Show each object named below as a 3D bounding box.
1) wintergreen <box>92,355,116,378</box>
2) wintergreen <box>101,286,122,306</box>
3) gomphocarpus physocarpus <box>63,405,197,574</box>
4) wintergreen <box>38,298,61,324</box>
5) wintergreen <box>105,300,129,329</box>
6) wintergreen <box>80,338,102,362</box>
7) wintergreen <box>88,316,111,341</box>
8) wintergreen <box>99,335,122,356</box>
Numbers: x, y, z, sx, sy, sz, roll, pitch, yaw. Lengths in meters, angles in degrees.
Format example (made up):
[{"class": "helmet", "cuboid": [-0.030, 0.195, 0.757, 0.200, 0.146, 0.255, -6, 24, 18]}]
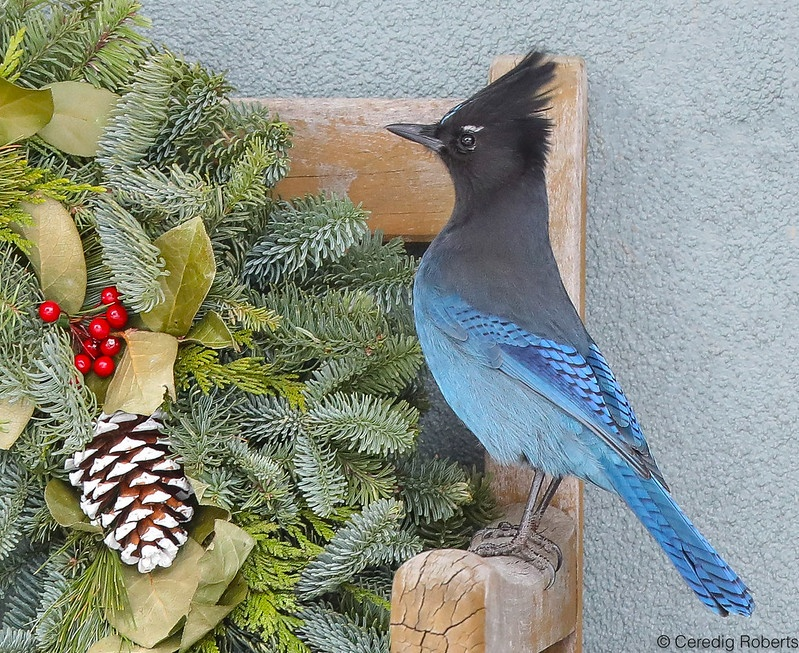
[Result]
[{"class": "wintergreen", "cuboid": [-0.381, 0.050, 1.448, 0.027, 0.027, 0.027, 1, 77, -8]}, {"class": "wintergreen", "cuboid": [-0.375, -0.040, 1.456, 0.022, 0.022, 0.026, -2, 54, -3]}, {"class": "gomphocarpus physocarpus", "cuboid": [-0.341, 0.211, 1.447, 0.134, 0.074, 0.201, -26, 77, -6]}, {"class": "wintergreen", "cuboid": [-0.450, -0.019, 1.441, 0.026, 0.017, 0.026, -6, 76, -1]}, {"class": "wintergreen", "cuboid": [-0.364, -0.015, 1.459, 0.032, 0.014, 0.031, -40, 114, -53]}, {"class": "wintergreen", "cuboid": [-0.399, 0.031, 1.454, 0.027, 0.027, 0.032, -15, 93, -9]}, {"class": "wintergreen", "cuboid": [-0.387, 0.003, 1.445, 0.026, 0.027, 0.032, -1, 90, 10]}, {"class": "wintergreen", "cuboid": [-0.373, 0.025, 1.451, 0.026, 0.024, 0.030, 5, 81, -3]}]
